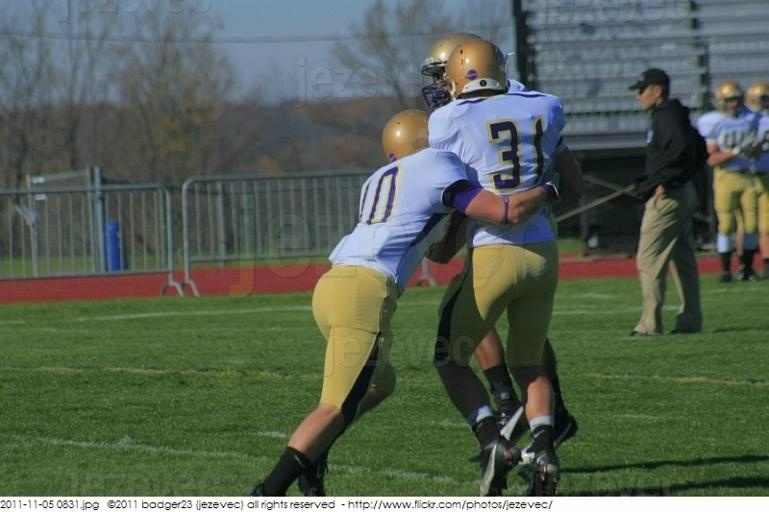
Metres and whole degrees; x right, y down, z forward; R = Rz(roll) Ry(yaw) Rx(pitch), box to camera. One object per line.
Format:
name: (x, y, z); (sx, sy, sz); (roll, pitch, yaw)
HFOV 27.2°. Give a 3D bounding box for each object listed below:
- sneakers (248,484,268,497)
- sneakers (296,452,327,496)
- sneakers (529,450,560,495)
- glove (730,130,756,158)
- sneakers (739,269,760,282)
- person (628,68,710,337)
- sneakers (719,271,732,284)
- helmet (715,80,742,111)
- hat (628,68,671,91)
sneakers: (-1.230, 2.308, 15.447); (0.158, 0.108, 0.058); (-22, 16, -7)
sneakers: (-0.696, 2.167, 15.564); (0.292, 0.431, 0.241); (-2, 2, -5)
sneakers: (1.571, 2.145, 15.531); (0.187, 0.574, 0.266); (0, 39, -6)
glove: (4.608, -1.395, 20.223); (0.350, 0.130, 0.252); (-42, 1, 18)
sneakers: (4.754, 0.291, 20.565); (0.329, 0.159, 0.099); (3, 5, 4)
person: (3.260, -0.617, 18.274); (0.845, 3.079, 0.576); (-2, 2, 13)
sneakers: (4.414, 0.303, 20.574); (0.155, 0.129, 0.143); (2, -4, -19)
helmet: (4.450, -2.065, 20.480); (0.394, 0.367, 0.338); (1, 10, 43)
hat: (3.085, -2.039, 18.434); (0.438, 0.200, 0.272); (2, 8, 9)
